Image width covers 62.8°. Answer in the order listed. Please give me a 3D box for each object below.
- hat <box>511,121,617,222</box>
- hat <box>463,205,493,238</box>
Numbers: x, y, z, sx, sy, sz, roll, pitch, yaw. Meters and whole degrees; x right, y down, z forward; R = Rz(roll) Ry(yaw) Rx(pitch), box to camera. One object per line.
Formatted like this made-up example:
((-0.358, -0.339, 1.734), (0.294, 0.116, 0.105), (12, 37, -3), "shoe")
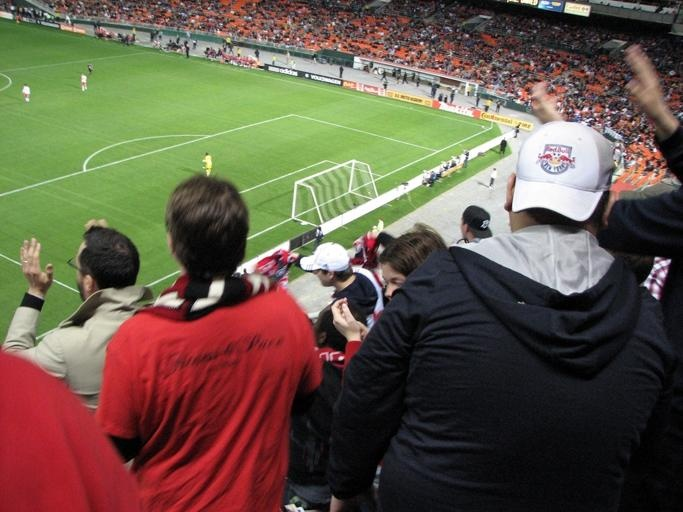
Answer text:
((0.993, -0.377, 2.498), (0.425, 0.417, 0.367), (15, 18, 14), "hat")
((1.796, -0.396, 7.501), (0.387, 0.483, 0.606), (14, 18, 11), "hat")
